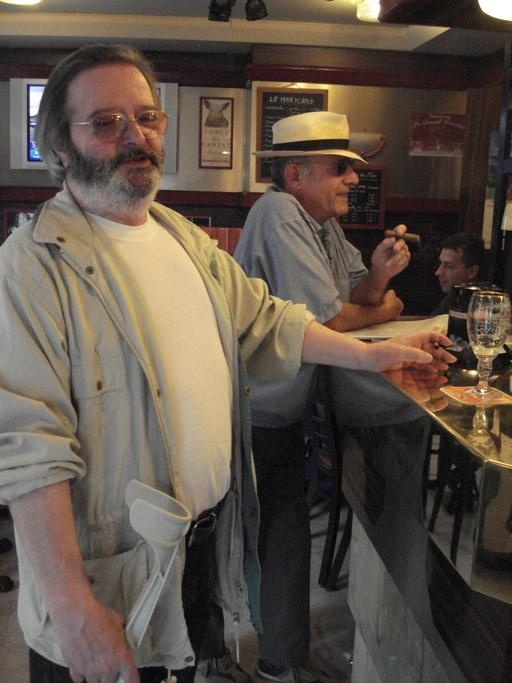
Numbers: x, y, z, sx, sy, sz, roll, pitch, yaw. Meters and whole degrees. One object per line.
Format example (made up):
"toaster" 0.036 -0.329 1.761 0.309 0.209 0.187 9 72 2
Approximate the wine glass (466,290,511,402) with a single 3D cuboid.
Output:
"wine glass" 0.441 0.007 1.146 0.074 0.185 0.184 3 12 19

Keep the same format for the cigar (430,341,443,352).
"cigar" 0.421 0.013 1.407 0.016 0.022 0.008 -2 -9 -1

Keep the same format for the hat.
"hat" 0.160 -0.717 2.126 0.275 0.122 0.238 1 16 10
